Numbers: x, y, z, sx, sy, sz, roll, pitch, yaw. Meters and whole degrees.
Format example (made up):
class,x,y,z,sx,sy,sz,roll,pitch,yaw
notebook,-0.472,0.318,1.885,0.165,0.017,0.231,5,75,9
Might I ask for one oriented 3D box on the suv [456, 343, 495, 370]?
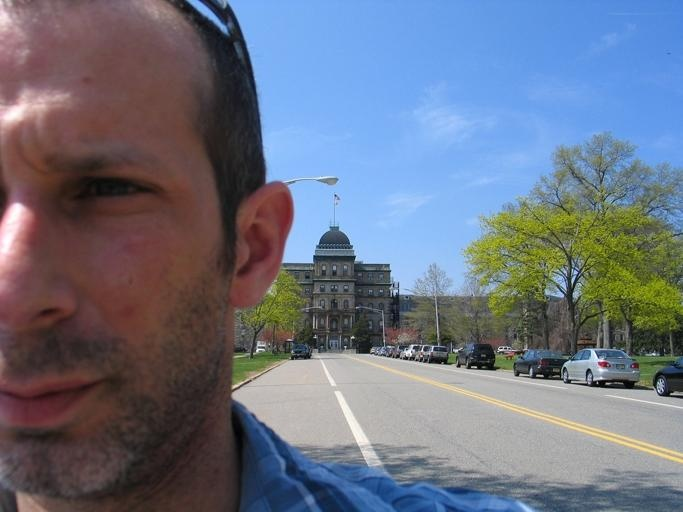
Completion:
class,x,y,z,sx,sy,sz,roll,pitch,yaw
suv,8.501,6.341,42.009,1.313,1.289,2.969,1,-5,-5

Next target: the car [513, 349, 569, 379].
class,x,y,z,sx,sy,sz,roll,pitch,yaw
car,8.989,4.912,30.303,1.106,0.883,2.571,2,-7,-5

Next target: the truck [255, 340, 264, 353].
class,x,y,z,sx,sy,sz,roll,pitch,yaw
truck,-14.440,16.030,116.887,1.349,2.148,3.988,-1,-13,-4

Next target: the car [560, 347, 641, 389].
class,x,y,z,sx,sy,sz,roll,pitch,yaw
car,9.154,3.964,23.575,1.107,1.277,2.920,4,-11,-11
